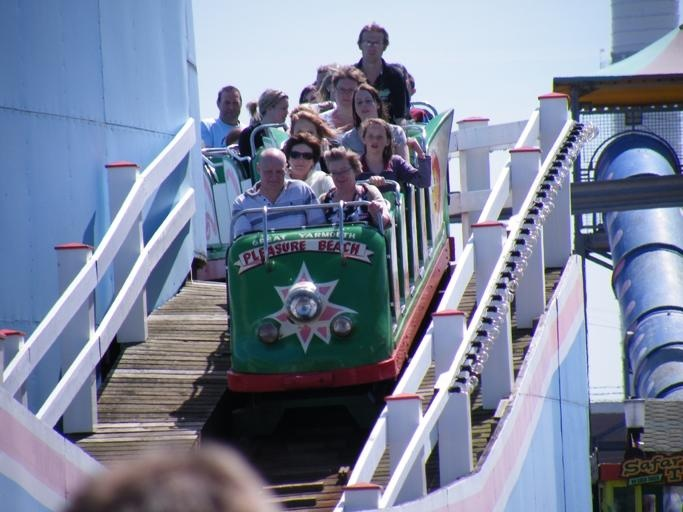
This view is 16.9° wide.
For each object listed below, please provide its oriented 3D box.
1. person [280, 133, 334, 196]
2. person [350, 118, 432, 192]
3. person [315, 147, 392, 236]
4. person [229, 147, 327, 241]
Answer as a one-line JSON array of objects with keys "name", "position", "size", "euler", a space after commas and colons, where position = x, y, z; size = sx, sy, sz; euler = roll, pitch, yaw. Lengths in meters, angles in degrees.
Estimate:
[{"name": "person", "position": [-0.443, -1.162, 29.730], "size": [0.522, 1.274, 0.614], "euler": [5, 42, -1]}, {"name": "person", "position": [0.673, -1.201, 29.444], "size": [0.717, 0.530, 0.984], "euler": [-8, -30, 12]}, {"name": "person", "position": [0.151, -0.830, 28.805], "size": [1.014, 0.951, 0.538], "euler": [9, 17, 40]}, {"name": "person", "position": [-0.844, -0.740, 29.089], "size": [1.282, 1.194, 0.698], "euler": [-6, 5, -19]}]
